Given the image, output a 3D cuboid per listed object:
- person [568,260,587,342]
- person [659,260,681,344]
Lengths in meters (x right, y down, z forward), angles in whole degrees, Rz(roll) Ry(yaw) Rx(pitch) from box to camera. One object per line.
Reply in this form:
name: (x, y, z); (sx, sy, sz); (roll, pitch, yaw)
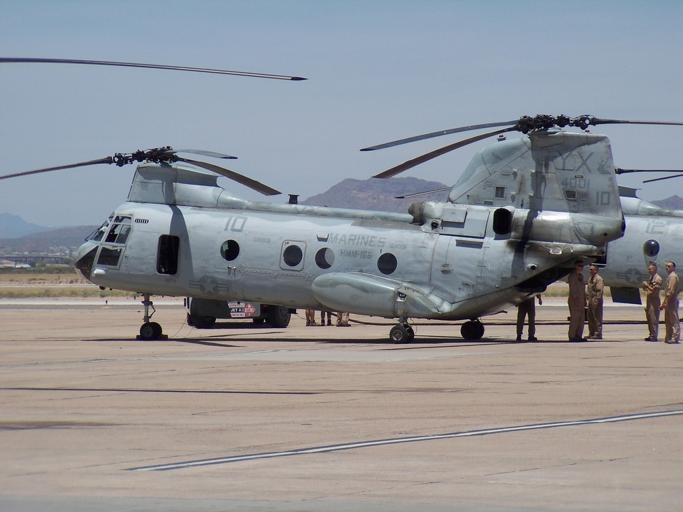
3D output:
person: (6.416, 1.289, 23.547); (0.504, 2.081, 1.062); (3, -6, 13)
person: (8.960, 1.270, 23.376); (0.494, 2.180, 1.237); (3, -6, 19)
